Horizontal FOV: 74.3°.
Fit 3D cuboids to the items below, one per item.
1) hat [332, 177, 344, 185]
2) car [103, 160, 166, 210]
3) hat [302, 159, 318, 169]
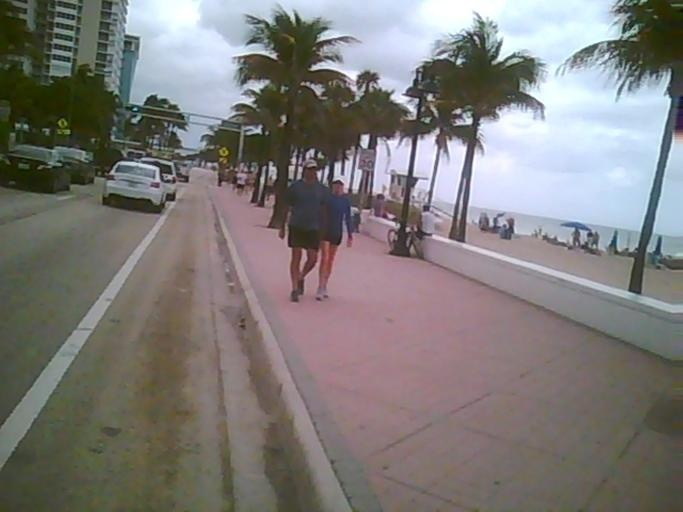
[{"bbox_3d":[-0.070,-1.562,9.379,0.260,0.158,0.404,6,4,4],"label":"hat"},{"bbox_3d":[-9.414,-3.037,20.589,1.562,1.536,2.992,4,22,-15],"label":"car"},{"bbox_3d":[-0.570,-1.711,8.410,0.238,0.193,0.377,4,8,-10],"label":"hat"}]
